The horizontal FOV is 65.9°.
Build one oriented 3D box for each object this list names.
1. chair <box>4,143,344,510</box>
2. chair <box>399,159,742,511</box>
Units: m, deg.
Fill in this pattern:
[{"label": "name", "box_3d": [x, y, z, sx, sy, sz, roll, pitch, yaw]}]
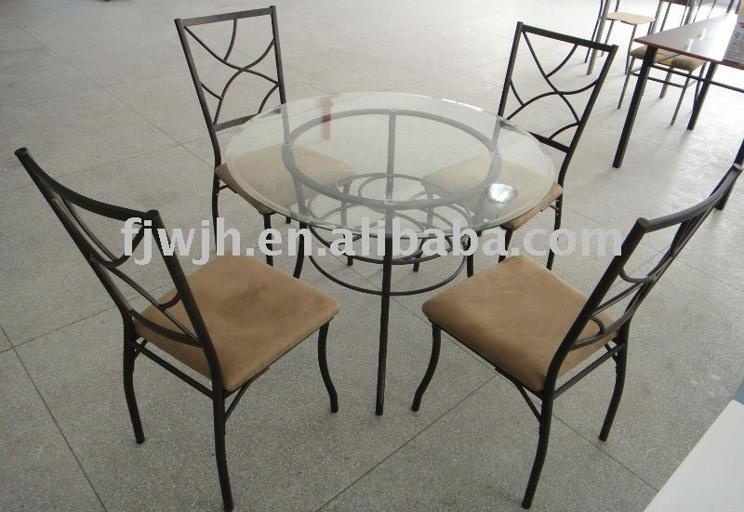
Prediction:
[{"label": "chair", "box_3d": [-0.934, 0.391, 2.745, 0.765, 1.586, 0.963, 33, 49, 20]}, {"label": "chair", "box_3d": [0.910, 0.423, 2.729, 0.726, 1.531, 0.916, -32, 56, -26]}]
